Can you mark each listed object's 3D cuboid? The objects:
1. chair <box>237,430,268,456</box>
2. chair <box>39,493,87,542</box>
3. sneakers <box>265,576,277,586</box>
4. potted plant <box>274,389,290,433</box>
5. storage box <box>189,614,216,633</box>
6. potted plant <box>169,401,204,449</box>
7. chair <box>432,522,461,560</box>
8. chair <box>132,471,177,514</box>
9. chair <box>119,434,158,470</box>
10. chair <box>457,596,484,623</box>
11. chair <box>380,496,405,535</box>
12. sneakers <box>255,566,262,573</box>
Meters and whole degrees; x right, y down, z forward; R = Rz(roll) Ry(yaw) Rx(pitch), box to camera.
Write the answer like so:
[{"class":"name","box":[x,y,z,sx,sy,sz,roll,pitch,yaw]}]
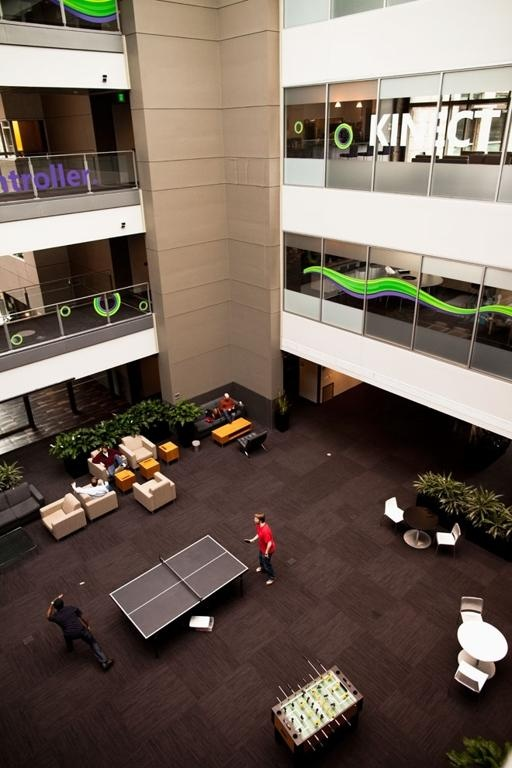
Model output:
[{"class":"chair","box":[-0.095,1.560,13.459,0.730,0.706,0.719,-6,25,-3]},{"class":"chair","box":[-4.138,2.924,10.751,0.814,0.589,0.798,-24,31,-35]},{"class":"sneakers","box":[0.275,3.654,9.256,0.106,0.160,0.224,19,26,38]},{"class":"potted plant","box":[0.768,0.817,14.519,0.445,1.064,0.394,-22,29,-35]},{"class":"storage box","box":[-0.907,4.009,8.306,0.268,0.080,0.213,8,31,7]},{"class":"potted plant","box":[-2.012,1.189,13.916,0.879,1.125,0.638,1,24,11]},{"class":"chair","box":[3.825,3.176,9.920,0.374,0.621,0.380,0,46,3]},{"class":"chair","box":[-2.289,2.481,11.559,0.875,0.960,0.872,-32,59,-29]},{"class":"chair","box":[-3.094,1.683,13.009,0.853,0.784,0.789,-28,48,-31]},{"class":"chair","box":[3.364,3.571,7.767,0.302,0.338,0.492,11,29,30]},{"class":"chair","box":[2.920,2.873,10.650,0.347,0.554,0.399,-21,38,-23]},{"class":"sneakers","box":[0.041,3.550,9.507,0.113,0.081,0.151,0,26,10]}]
